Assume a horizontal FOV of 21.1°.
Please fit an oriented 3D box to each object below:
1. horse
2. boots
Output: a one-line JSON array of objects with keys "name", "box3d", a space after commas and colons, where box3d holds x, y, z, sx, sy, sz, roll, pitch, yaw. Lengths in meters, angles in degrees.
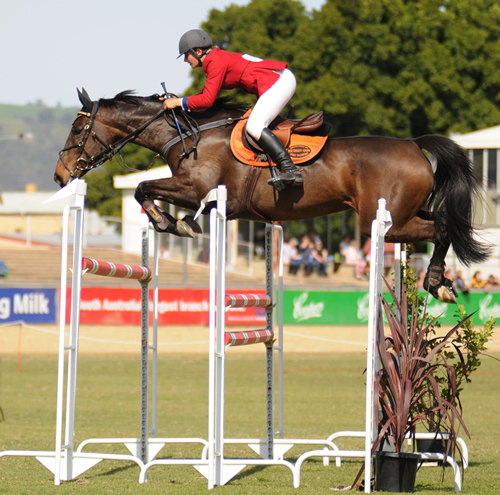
[{"name": "horse", "box3d": [0.221, -0.417, 11.609, 3.697, 1.675, 0.720, 2, 8, 1]}, {"name": "boots", "box3d": [0.257, -0.758, 11.226, 0.398, 0.471, 0.356, -5, 15, -33]}]
